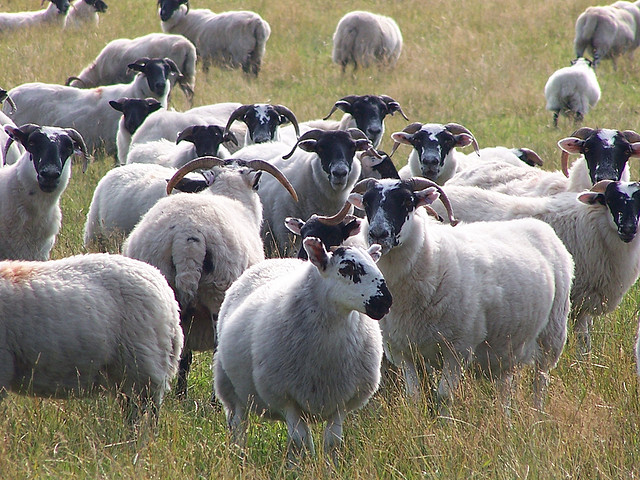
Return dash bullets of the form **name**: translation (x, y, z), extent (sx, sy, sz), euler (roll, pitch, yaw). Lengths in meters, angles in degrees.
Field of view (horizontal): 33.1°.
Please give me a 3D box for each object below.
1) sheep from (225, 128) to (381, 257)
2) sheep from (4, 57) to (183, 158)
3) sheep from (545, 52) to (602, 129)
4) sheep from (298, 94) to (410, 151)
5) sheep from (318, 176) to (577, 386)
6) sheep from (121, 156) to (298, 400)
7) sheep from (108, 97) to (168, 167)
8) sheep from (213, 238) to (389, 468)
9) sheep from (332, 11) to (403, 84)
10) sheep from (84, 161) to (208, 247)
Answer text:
- **sheep**: translation (-0.001, -0.755, 14.854), extent (1.219, 1.486, 2.541), euler (1, 0, -12)
- **sheep**: translation (-4.184, -2.476, 20.097), extent (3.847, 2.449, 1.492), euler (1, -4, 2)
- **sheep**: translation (4.995, -2.960, 21.086), extent (0.969, 1.367, 1.870), euler (7, 12, 23)
- **sheep**: translation (0.630, -1.876, 16.333), extent (0.828, 0.764, 1.565), euler (-2, 6, -27)
- **sheep**: translation (1.572, 0.838, 12.590), extent (3.673, 2.931, 1.943), euler (2, -2, -44)
- **sheep**: translation (-1.284, 0.373, 13.302), extent (1.340, 2.879, 2.917), euler (4, 4, 5)
- **sheep**: translation (-2.964, -1.923, 17.575), extent (0.797, 0.976, 1.402), euler (1, -3, -8)
- **sheep**: translation (-0.166, 1.360, 11.626), extent (1.746, 2.393, 3.258), euler (7, -11, -25)
- **sheep**: translation (1.151, -4.633, 25.681), extent (1.183, 1.884, 2.572), euler (12, 14, 21)
- **sheep**: translation (-2.384, -0.259, 14.340), extent (1.904, 1.477, 1.050), euler (-1, -7, 29)
